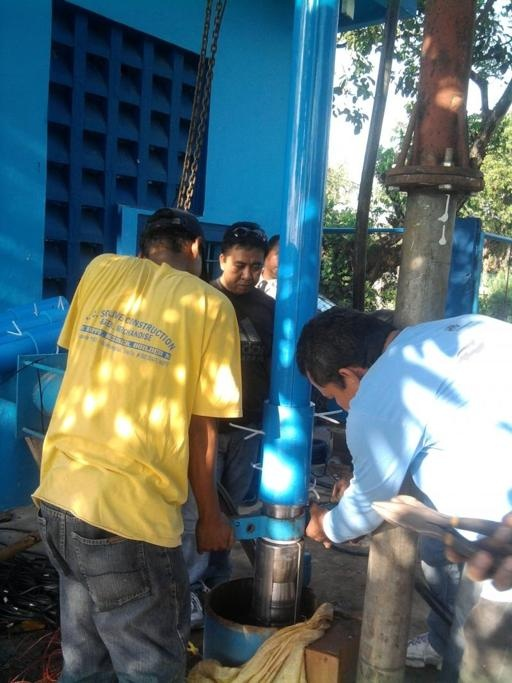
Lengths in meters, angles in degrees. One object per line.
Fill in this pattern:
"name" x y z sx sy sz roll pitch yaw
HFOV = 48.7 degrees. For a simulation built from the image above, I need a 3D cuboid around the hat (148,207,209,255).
"hat" -0.280 -0.371 2.077 0.152 0.148 0.201 -2 -24 11
